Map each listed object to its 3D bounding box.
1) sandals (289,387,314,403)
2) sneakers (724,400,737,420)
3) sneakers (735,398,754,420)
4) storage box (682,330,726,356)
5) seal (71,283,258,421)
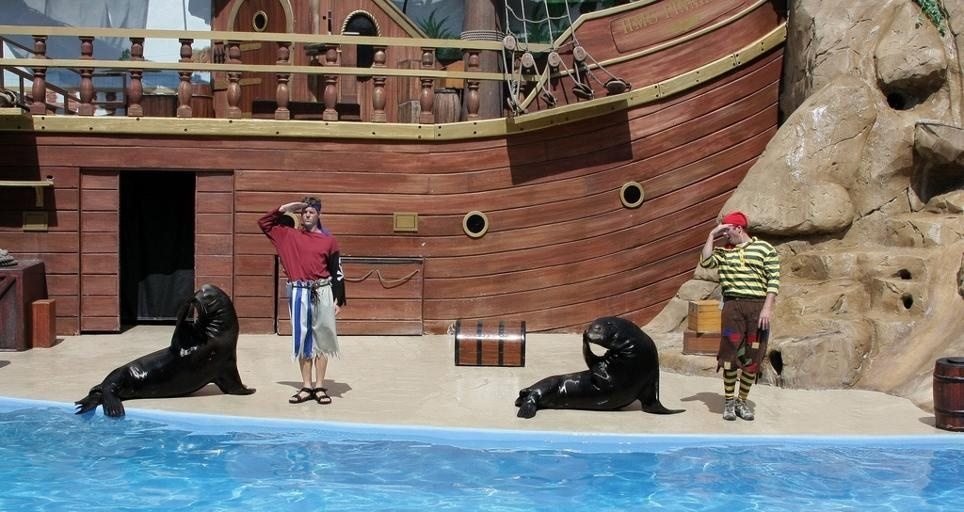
[{"bbox_3d":[-2.977,2.297,24.735,0.520,0.150,0.191,0,1,-9],"label":"sandals"},{"bbox_3d":[4.050,2.495,24.465,0.230,0.326,0.170,1,-1,8],"label":"sneakers"},{"bbox_3d":[4.302,2.495,24.445,0.297,0.326,0.116,1,-1,27],"label":"sneakers"},{"bbox_3d":[3.852,1.529,26.175,0.753,0.285,0.430,0,-1,5],"label":"storage box"},{"bbox_3d":[-5.982,1.592,25.019,3.655,1.740,1.475,-6,15,-26],"label":"seal"}]
